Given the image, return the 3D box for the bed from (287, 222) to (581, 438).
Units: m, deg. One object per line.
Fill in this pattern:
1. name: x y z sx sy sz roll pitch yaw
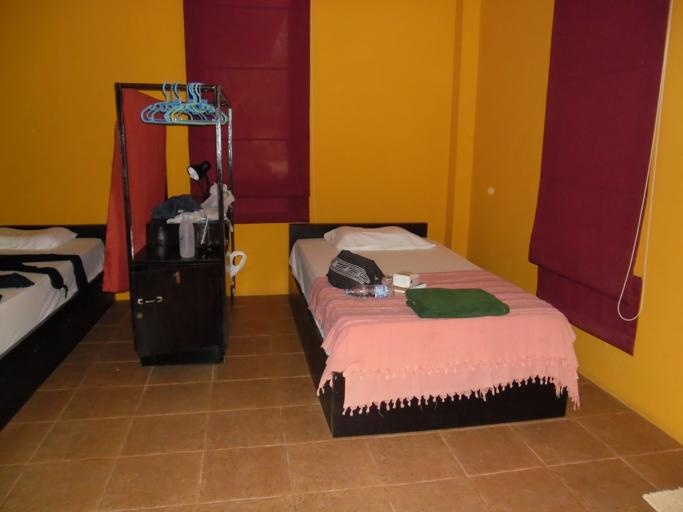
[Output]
1. bed: 0.397 0.289 3.685 0.948 0.501 1.457 -5 32 -11

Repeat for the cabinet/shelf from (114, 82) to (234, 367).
1. cabinet/shelf: -1.365 -0.448 4.508 0.643 1.888 1.858 -3 19 -17
